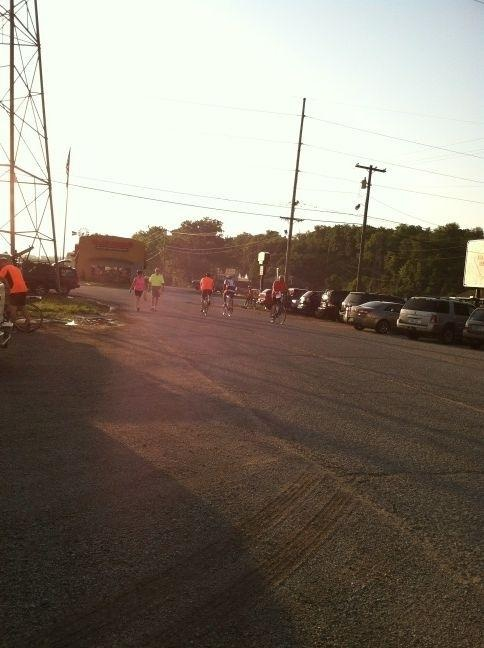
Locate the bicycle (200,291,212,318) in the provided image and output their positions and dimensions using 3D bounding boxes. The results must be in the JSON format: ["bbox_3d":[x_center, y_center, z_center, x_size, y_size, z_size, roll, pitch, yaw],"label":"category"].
[{"bbox_3d":[-1.843,-1.397,25.464,0.714,1.008,1.638,3,32,-7],"label":"bicycle"}]

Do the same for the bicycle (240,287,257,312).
[{"bbox_3d":[0.655,-2.519,41.828,1.043,1.551,2.437,4,28,-1],"label":"bicycle"}]
